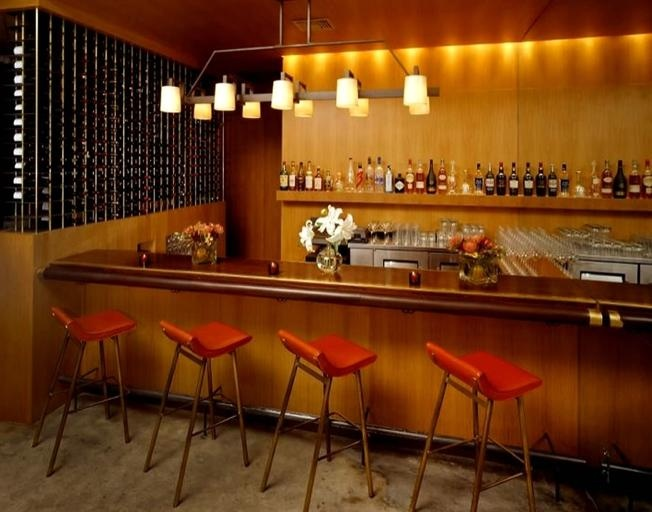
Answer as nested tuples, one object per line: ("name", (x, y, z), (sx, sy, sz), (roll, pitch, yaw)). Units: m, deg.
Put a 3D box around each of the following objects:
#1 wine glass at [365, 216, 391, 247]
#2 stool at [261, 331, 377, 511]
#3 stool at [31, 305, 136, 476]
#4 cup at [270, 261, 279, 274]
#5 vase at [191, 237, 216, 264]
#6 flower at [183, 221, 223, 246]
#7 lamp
("wine glass", (0.596, -0.260, 6.352), (0.221, 0.273, 0.227), (3, 10, 15))
("stool", (-0.045, 1.022, 3.990), (0.778, 1.124, 0.898), (-1, 9, 4))
("stool", (-1.957, 0.945, 4.927), (0.921, 1.887, 0.965), (-1, 5, -29))
("cup", (-0.374, 0.090, 4.261), (0.064, 0.101, 0.075), (-1, 3, -6))
("vase", (-0.931, -0.040, 4.517), (0.196, 0.248, 0.164), (0, 10, -3))
("flower", (-0.984, -0.178, 4.600), (0.293, 0.267, 0.318), (0, 1, 2))
("lamp", (-0.026, -1.783, 5.453), (2.126, 1.009, 2.570), (1, 10, 11))
